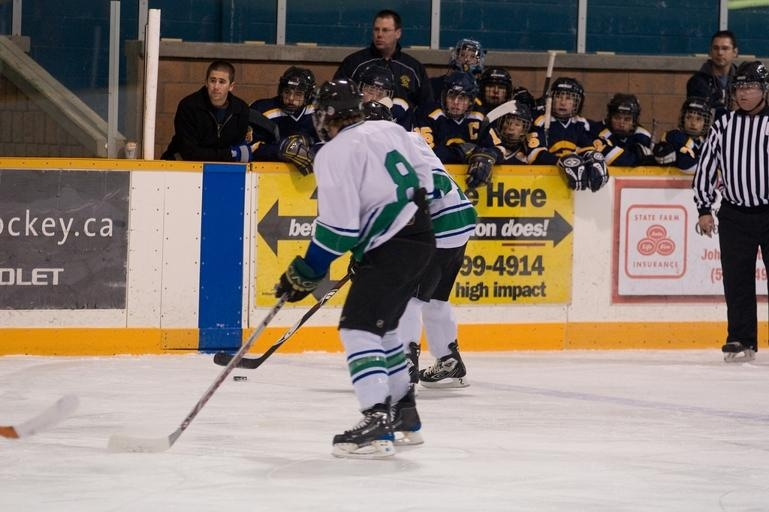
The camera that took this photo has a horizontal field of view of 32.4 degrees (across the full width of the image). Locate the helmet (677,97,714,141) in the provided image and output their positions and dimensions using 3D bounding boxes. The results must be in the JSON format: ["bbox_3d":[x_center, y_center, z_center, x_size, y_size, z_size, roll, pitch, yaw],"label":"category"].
[{"bbox_3d":[2.479,-1.144,10.654,0.302,0.313,0.345,8,7,6],"label":"helmet"}]

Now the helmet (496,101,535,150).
[{"bbox_3d":[0.969,-0.989,10.076,0.289,0.303,0.355,9,12,11],"label":"helmet"}]

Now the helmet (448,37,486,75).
[{"bbox_3d":[0.671,-1.605,10.574,0.274,0.280,0.318,11,5,20],"label":"helmet"}]

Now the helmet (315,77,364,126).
[{"bbox_3d":[-0.259,-0.911,7.763,0.329,0.251,0.250,5,11,31],"label":"helmet"}]

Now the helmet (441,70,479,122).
[{"bbox_3d":[0.536,-1.201,10.126,0.313,0.345,0.376,3,-8,9],"label":"helmet"}]

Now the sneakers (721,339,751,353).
[{"bbox_3d":[2.550,0.655,9.711,0.202,0.087,0.068,2,6,10],"label":"sneakers"}]

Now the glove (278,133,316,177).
[{"bbox_3d":[-0.656,-0.736,9.653,0.146,0.293,0.297,-30,-15,-12],"label":"glove"}]

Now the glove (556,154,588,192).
[{"bbox_3d":[1.395,-0.629,9.903,0.194,0.258,0.102,-13,0,13],"label":"glove"}]

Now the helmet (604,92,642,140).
[{"bbox_3d":[1.858,-1.118,10.479,0.279,0.329,0.353,7,26,13],"label":"helmet"}]

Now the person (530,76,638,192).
[{"bbox_3d":[1.389,-0.998,10.330,0.683,0.629,1.127,-4,29,-17],"label":"person"}]

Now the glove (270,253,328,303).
[{"bbox_3d":[-0.421,0.151,7.817,0.329,0.150,0.400,-5,30,-7],"label":"glove"}]

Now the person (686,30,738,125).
[{"bbox_3d":[2.640,-1.494,10.759,0.537,0.652,0.257,-4,-18,34],"label":"person"}]

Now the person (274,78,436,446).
[{"bbox_3d":[-0.142,0.053,7.692,0.847,2.142,0.442,1,6,1],"label":"person"}]

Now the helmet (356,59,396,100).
[{"bbox_3d":[-0.050,-1.317,9.827,0.332,0.239,0.393,7,-8,-6],"label":"helmet"}]

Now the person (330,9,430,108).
[{"bbox_3d":[-0.015,-1.528,10.552,0.935,0.772,0.493,5,12,4],"label":"person"}]

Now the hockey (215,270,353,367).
[{"bbox_3d":[-0.731,0.413,9.075,1.066,0.180,0.117,-40,-27,25],"label":"hockey"}]

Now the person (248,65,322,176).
[{"bbox_3d":[-0.742,-1.056,9.858,0.691,0.322,0.864,1,48,-6],"label":"person"}]

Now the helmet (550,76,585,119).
[{"bbox_3d":[1.417,-1.269,10.509,0.313,0.283,0.360,5,5,2],"label":"helmet"}]

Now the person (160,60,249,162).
[{"bbox_3d":[-1.288,-1.083,9.839,0.653,0.730,0.362,0,6,-9],"label":"person"}]

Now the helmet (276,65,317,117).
[{"bbox_3d":[-0.672,-1.285,10.192,0.305,0.328,0.359,13,12,1],"label":"helmet"}]
